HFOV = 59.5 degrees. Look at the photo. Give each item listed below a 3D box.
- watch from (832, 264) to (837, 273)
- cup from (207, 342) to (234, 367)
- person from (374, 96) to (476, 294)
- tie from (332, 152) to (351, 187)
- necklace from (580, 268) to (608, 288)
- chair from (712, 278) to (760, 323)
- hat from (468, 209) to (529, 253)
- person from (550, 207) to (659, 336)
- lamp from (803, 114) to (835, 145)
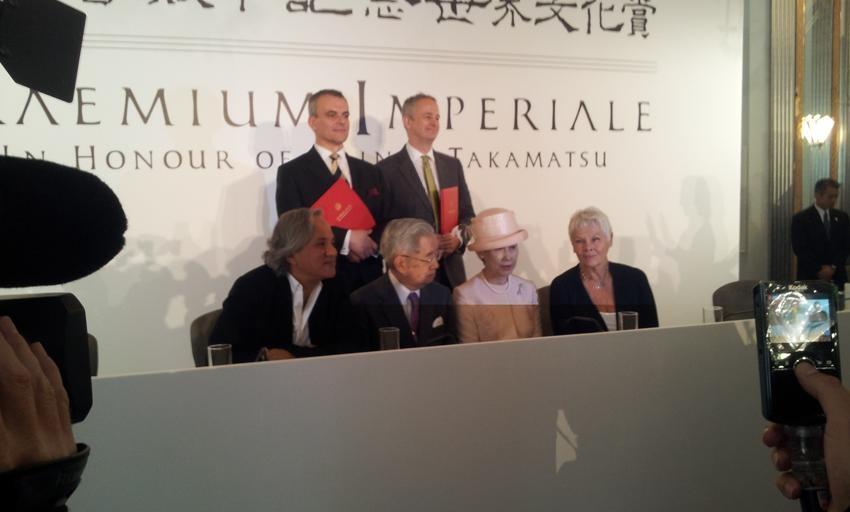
[{"bbox_3d":[2.366,0.069,4.303,0.028,0.031,0.008,-18,-8,18],"label":"watch"},{"bbox_3d":[-0.675,0.324,2.451,0.065,0.073,0.209,-2,11,-19],"label":"cup"},{"bbox_3d":[-0.009,-0.122,3.736,0.481,1.339,0.464,-8,27,-15],"label":"person"},{"bbox_3d":[-0.394,-0.410,3.500,0.074,0.119,0.031,5,21,33],"label":"tie"},{"bbox_3d":[0.881,0.118,3.837,0.087,0.049,0.124,0,-19,-4],"label":"necklace"},{"bbox_3d":[1.440,0.211,3.464,0.162,0.128,0.176,-2,-23,4],"label":"chair"},{"bbox_3d":[0.368,-0.166,3.843,0.371,0.193,0.463,7,6,12],"label":"hat"},{"bbox_3d":[0.875,0.057,3.747,0.416,0.860,0.209,-11,11,-10],"label":"person"},{"bbox_3d":[2.277,-0.738,4.304,0.170,0.193,0.041,0,-1,-26],"label":"lamp"}]
